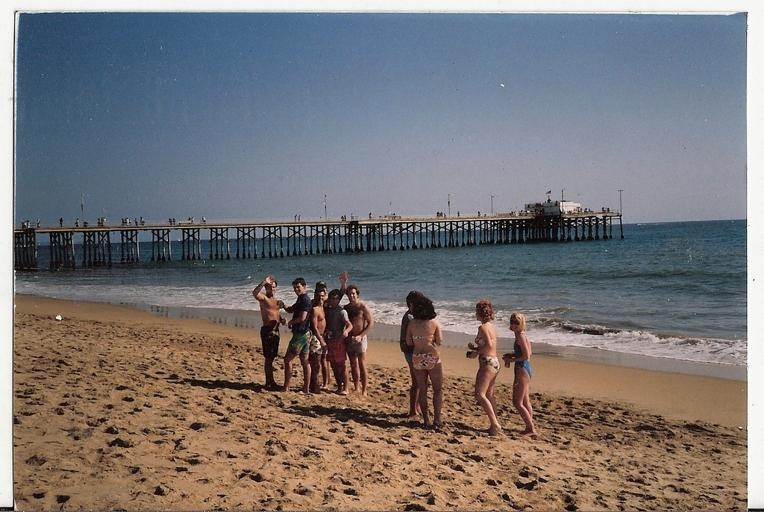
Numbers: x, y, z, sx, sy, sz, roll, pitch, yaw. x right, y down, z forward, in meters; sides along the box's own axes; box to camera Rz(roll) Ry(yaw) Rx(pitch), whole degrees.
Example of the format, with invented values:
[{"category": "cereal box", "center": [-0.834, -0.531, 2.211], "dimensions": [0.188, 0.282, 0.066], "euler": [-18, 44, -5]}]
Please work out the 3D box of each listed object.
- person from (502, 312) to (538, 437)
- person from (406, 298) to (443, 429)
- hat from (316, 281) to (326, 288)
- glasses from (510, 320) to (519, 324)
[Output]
[{"category": "person", "center": [2.391, 2.055, 12.930], "dimensions": [0.464, 2.150, 0.784], "euler": [0, 3, 20]}, {"category": "person", "center": [0.724, 1.798, 12.939], "dimensions": [0.574, 2.353, 0.589], "euler": [-1, 3, 3]}, {"category": "hat", "center": [-1.140, 0.543, 13.787], "dimensions": [0.125, 0.093, 0.145], "euler": [-1, 4, 0]}, {"category": "glasses", "center": [2.239, 1.121, 12.656], "dimensions": [0.143, 0.091, 0.052], "euler": [0, 3, 32]}]
